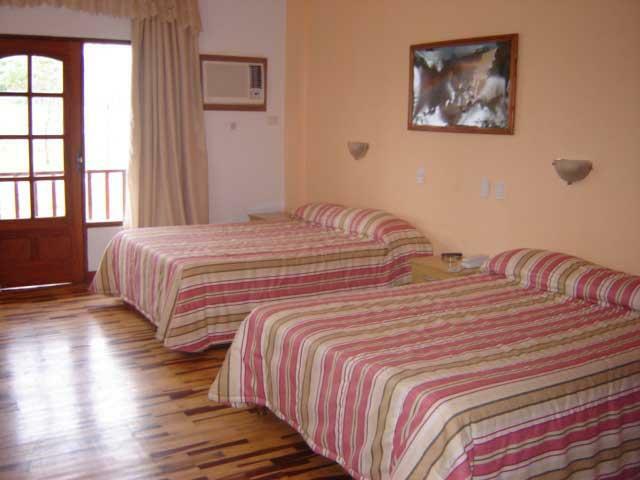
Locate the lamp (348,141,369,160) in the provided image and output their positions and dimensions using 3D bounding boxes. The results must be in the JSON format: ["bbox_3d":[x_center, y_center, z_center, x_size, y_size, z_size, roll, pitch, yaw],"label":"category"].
[{"bbox_3d":[0.401,-0.933,4.943,0.247,0.161,0.187,4,-10,-7],"label":"lamp"}]

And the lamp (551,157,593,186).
[{"bbox_3d":[1.728,-0.483,3.280,0.063,0.158,0.252,-7,11,-42],"label":"lamp"}]

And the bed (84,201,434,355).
[{"bbox_3d":[-0.497,0.176,4.514,2.709,0.708,1.775,-8,16,-36],"label":"bed"}]

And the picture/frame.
[{"bbox_3d":[1.186,-1.272,3.882,0.044,0.691,1.079,-10,16,-44],"label":"picture/frame"}]
